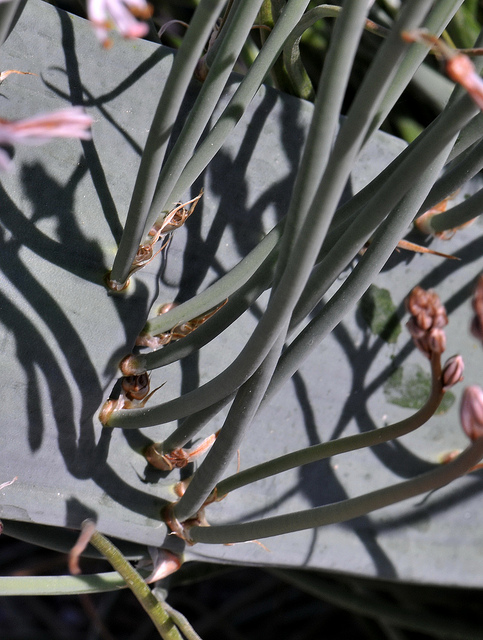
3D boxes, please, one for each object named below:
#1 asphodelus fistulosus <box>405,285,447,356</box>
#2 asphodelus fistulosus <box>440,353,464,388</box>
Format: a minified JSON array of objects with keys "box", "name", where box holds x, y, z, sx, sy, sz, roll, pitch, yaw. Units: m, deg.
[{"box":[0.114,-0.001,0.517,0.028,0.042,0.016,-6,24,32],"name":"asphodelus fistulosus"},{"box":[0.128,0.029,0.514,0.006,0.018,0.018,26,53,-1],"name":"asphodelus fistulosus"}]
